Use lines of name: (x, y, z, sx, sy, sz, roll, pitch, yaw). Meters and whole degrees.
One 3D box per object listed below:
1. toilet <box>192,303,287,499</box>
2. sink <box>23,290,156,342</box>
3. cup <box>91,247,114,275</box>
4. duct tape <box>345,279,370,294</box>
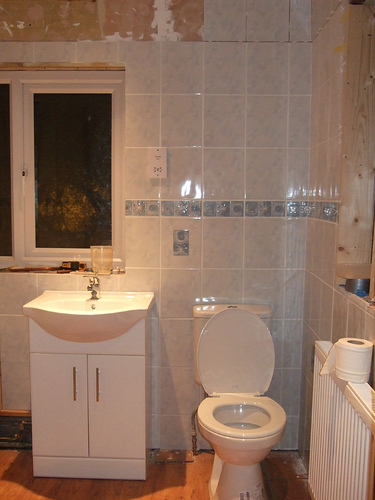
toilet: (0.211, 0.689, 2.342, 0.429, 0.823, 0.754, 2, 10, 5)
sink: (-0.460, 0.308, 2.458, 0.572, 0.171, 0.470, 1, 9, -2)
cup: (-0.444, 0.061, 2.550, 0.141, 0.131, 0.109, -1, 1, -23)
duct tape: (0.614, 0.125, 1.828, 0.058, 0.040, 0.056, 4, 4, 6)
